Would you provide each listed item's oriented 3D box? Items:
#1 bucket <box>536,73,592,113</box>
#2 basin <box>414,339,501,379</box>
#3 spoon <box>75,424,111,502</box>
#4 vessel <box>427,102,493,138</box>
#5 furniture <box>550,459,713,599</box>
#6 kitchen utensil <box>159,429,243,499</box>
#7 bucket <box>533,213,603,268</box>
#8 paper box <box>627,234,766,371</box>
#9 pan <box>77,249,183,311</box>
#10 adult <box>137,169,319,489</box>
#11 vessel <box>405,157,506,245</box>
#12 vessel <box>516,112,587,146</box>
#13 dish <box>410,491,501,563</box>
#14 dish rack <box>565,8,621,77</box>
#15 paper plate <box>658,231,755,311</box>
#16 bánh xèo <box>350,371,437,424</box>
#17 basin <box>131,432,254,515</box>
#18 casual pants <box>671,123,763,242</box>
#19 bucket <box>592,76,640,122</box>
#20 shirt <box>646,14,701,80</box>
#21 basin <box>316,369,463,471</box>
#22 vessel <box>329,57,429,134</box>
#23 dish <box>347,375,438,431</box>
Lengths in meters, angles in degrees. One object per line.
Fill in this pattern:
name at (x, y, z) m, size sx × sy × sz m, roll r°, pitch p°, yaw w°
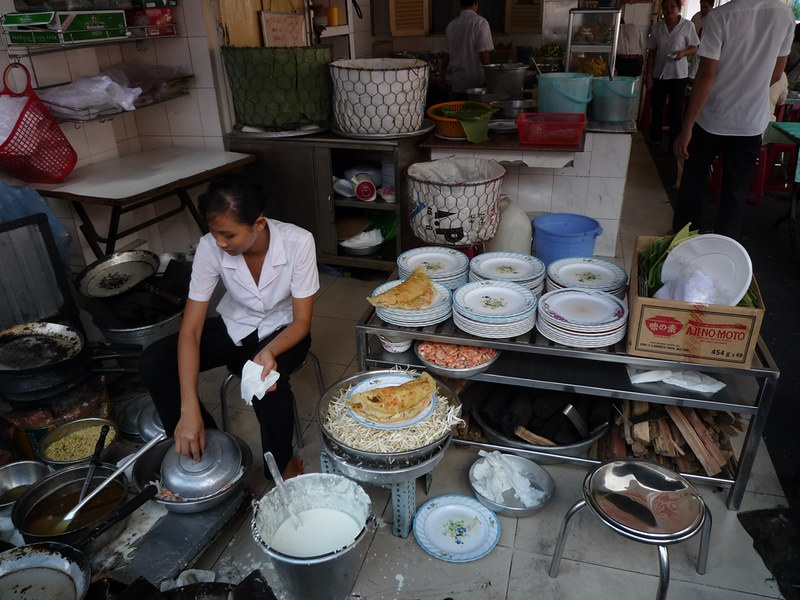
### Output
bucket at (1.350, -1.638, 4.247) m, size 0.439 × 0.348 × 0.428 m, roll -4°, pitch 29°, yaw 2°
basin at (0.269, 0.238, 2.540) m, size 0.292 × 0.307 × 0.091 m, roll -10°, pitch 55°, yaw 22°
spoon at (-1.433, 0.770, 2.450) m, size 0.039 × 0.029 × 0.327 m, roll 18°, pitch 67°, yaw -5°
vessel at (0.501, -1.455, 4.273) m, size 0.428 × 0.235 × 0.678 m, roll -11°, pitch 31°, yaw -17°
furniture at (0.961, 0.972, 2.172) m, size 0.372 × 0.331 × 0.354 m, roll -30°, pitch 42°, yaw -32°
kitchen utensil at (-0.885, 0.752, 2.347) m, size 0.353 × 0.162 × 0.269 m, roll -18°, pitch 33°, yaw -28°
bucket at (1.126, -0.432, 3.497) m, size 0.416 × 0.315 × 0.403 m, roll -3°, pitch 33°, yaw 2°
paper box at (1.359, 0.019, 2.462) m, size 0.543 × 0.319 × 0.562 m, roll 3°, pitch 31°, yaw 16°
pan at (-1.823, -0.079, 3.382) m, size 0.411 × 0.638 × 0.092 m, roll -31°, pitch 74°, yaw -26°
adult at (-0.784, 0.170, 2.576) m, size 0.880 × 1.461 × 0.826 m, roll -15°, pitch 29°, yaw -37°
vessel at (0.428, -0.707, 3.643) m, size 0.686 × 0.494 × 0.673 m, roll -24°, pitch 33°, yaw -36°
vessel at (1.125, -1.252, 3.978) m, size 0.437 × 0.148 × 0.303 m, roll 4°, pitch 27°, yaw 9°
dish at (0.249, 1.028, 2.397) m, size 0.375 × 0.052 × 0.389 m, roll 7°, pitch 26°, yaw 28°
dish rack at (1.756, -2.343, 4.812) m, size 0.449 × 0.558 × 0.341 m, roll 8°, pitch 30°, yaw 17°
paper plate at (1.388, -0.075, 2.470) m, size 0.417 × 0.450 × 0.098 m, roll -9°, pitch 48°, yaw 11°
bánh xèo at (-0.010, 0.432, 2.252) m, size 0.247 × 0.079 × 0.196 m, roll -18°, pitch 28°, yaw -19°
basin at (-0.957, 0.765, 2.360) m, size 0.405 × 0.163 × 0.412 m, roll -1°, pitch 21°, yaw 0°
casual pants at (2.601, -0.994, 4.345) m, size 0.516 × 1.189 × 0.363 m, roll 15°, pitch 36°, yaw 27°
bucket at (1.760, -1.622, 4.369) m, size 0.406 × 0.315 × 0.390 m, roll -4°, pitch 30°, yaw 2°
shirt at (3.610, -3.369, 7.054) m, size 0.624 × 0.723 × 0.363 m, roll 16°, pitch 29°, yaw 36°
basin at (-0.058, 0.533, 2.202) m, size 0.434 × 0.111 × 0.433 m, roll -2°, pitch 31°, yaw 1°
vessel at (-0.164, -1.604, 4.150) m, size 0.725 × 0.481 × 0.731 m, roll -7°, pitch 32°, yaw -16°
dish at (-0.028, 0.438, 2.254) m, size 0.259 × 0.078 × 0.256 m, roll -22°, pitch 36°, yaw -20°
